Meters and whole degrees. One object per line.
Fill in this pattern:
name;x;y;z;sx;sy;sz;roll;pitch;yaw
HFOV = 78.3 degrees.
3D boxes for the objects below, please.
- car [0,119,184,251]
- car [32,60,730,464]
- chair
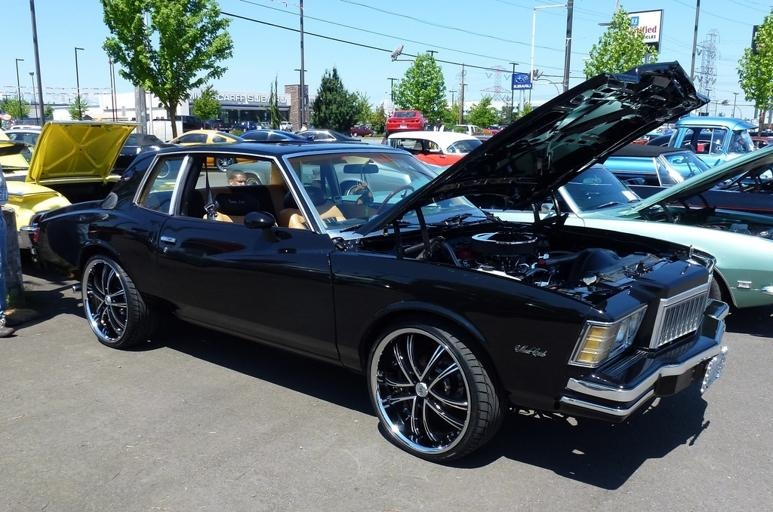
car;-4.705;-1.306;7.347;2.937;1.495;1.801;22;25;35
car;-0.474;-0.199;4.916;6.379;2.010;2.880;6;14;30
chair;-1.087;-0.483;4.595;1.038;0.488;0.742;6;18;39
